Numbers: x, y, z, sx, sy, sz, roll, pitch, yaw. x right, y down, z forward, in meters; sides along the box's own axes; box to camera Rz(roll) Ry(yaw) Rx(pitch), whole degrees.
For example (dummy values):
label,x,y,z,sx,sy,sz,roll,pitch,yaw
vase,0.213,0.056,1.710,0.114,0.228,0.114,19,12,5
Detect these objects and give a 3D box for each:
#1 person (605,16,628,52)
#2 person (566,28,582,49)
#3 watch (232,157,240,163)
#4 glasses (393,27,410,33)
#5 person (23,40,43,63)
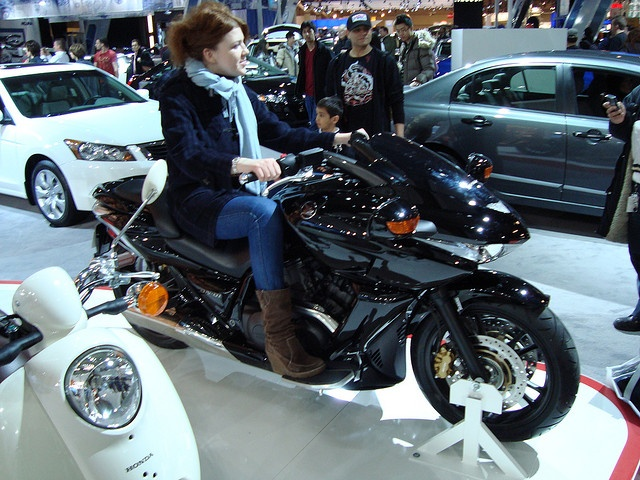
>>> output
label,x,y,z,sx,sy,sz,roll,pitch,yaw
person,5.891,-4.145,8.814,0.326,0.637,2.587,19,31,25
person,4.988,-4.022,8.806,0.228,0.334,0.885,15,30,21
watch,-0.402,-0.385,2.116,0.031,0.015,0.034,-11,8,4
glasses,1.293,-3.403,7.128,0.145,0.070,0.174,-9,-10,33
person,-6.360,-4.194,9.802,0.317,0.413,1.490,-17,31,-26
